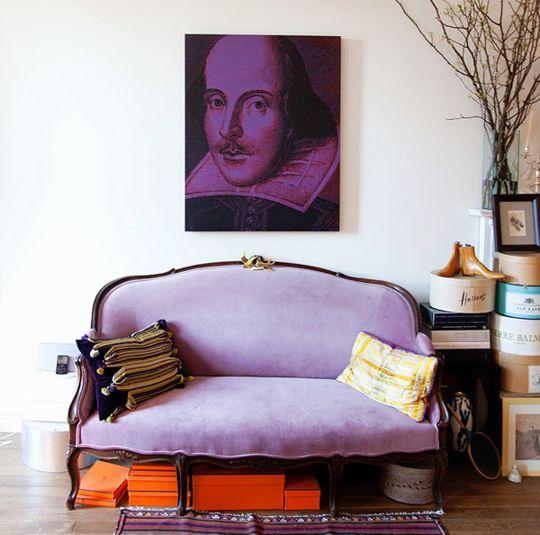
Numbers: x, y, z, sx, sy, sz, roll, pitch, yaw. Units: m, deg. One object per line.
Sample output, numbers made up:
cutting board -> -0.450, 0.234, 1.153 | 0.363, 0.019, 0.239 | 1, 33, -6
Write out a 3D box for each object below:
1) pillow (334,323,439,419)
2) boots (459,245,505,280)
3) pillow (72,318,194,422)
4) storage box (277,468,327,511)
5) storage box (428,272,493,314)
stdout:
pillow -> 0.553, 0.505, 2.704 | 0.128, 0.286, 0.462 | 21, 1, -38
boots -> 1.089, -0.015, 2.849 | 0.289, 0.204, 0.106 | 0, 7, 27
pillow -> -0.666, 0.427, 2.867 | 0.631, 0.176, 0.637 | 0, 12, 4
storage box -> 0.139, 1.041, 2.691 | 0.161, 0.081, 0.228 | 2, -4, -5
storage box -> 0.973, 0.137, 2.910 | 0.226, 0.130, 0.227 | 0, 6, 9
